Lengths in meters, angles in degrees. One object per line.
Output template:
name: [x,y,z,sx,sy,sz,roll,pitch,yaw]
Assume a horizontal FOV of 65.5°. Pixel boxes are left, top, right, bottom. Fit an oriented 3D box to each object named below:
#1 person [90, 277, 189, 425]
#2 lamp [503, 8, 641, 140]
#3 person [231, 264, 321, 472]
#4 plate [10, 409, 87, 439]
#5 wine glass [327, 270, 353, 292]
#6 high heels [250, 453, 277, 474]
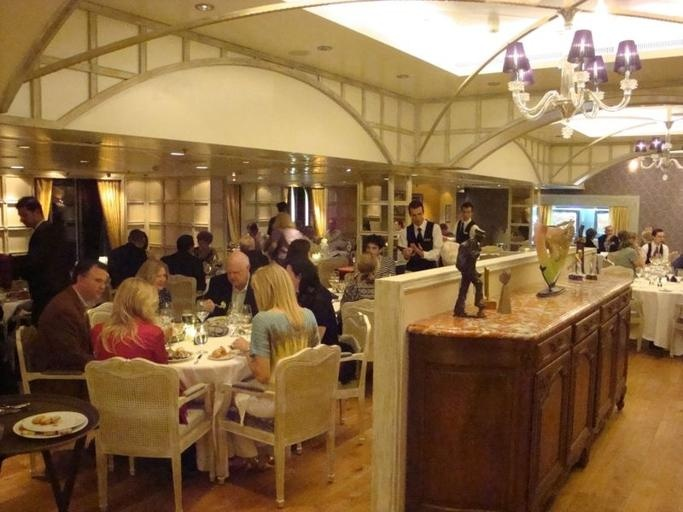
person: [-1.561,0.747,4.176,0.570,1.176,0.660,11,20,17]
lamp: [2.566,-1.944,5.756,1.139,1.264,3.037,2,5,28]
person: [-0.515,0.882,4.076,0.697,1.642,0.517,-2,5,-3]
plate: [-1.690,0.980,3.102,0.365,0.076,0.321,-5,6,-39]
wine glass: [0.014,0.347,7.352,0.323,0.308,0.279,3,-2,-26]
high heels: [-0.650,1.708,4.424,0.217,0.106,0.175,6,9,9]
